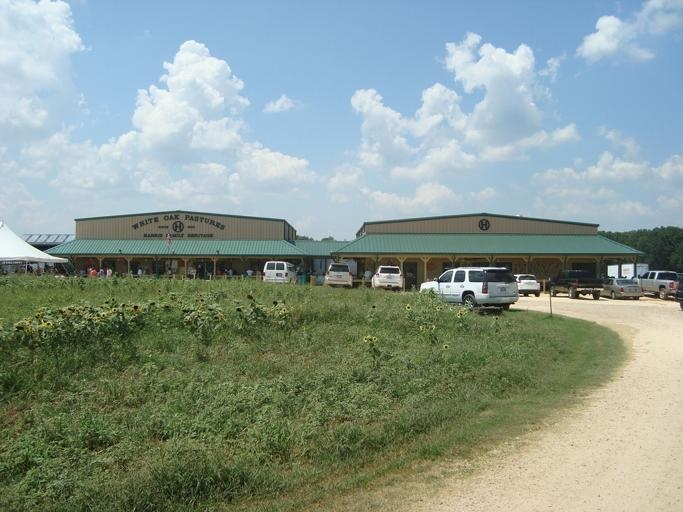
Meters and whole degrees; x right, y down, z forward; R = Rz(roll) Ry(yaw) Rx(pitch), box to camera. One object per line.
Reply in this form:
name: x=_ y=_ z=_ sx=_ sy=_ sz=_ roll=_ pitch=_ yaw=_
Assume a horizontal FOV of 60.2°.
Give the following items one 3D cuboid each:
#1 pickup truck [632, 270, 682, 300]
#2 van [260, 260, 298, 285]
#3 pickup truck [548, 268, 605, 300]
pickup truck: x=17.423 y=1.824 z=32.133 sx=1.679 sy=1.445 sz=3.912 roll=1 pitch=3 yaw=7
van: x=-3.479 y=0.918 z=34.170 sx=1.113 sy=0.964 sz=2.256 roll=0 pitch=-6 yaw=4
pickup truck: x=12.971 y=1.555 z=32.245 sx=2.034 sy=1.492 sz=3.960 roll=2 pitch=1 yaw=9
